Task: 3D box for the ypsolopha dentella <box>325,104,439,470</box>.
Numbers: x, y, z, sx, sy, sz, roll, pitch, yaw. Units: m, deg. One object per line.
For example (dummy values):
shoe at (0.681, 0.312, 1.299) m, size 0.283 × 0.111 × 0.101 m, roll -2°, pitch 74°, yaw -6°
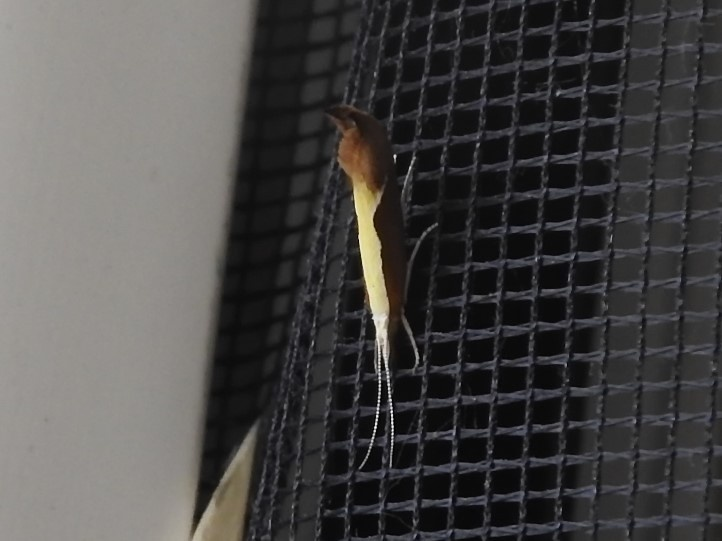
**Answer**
ypsolopha dentella at (0.042, 0.033, 3.826) m, size 0.248 × 0.850 × 0.290 m, roll -9°, pitch 9°, yaw -39°
